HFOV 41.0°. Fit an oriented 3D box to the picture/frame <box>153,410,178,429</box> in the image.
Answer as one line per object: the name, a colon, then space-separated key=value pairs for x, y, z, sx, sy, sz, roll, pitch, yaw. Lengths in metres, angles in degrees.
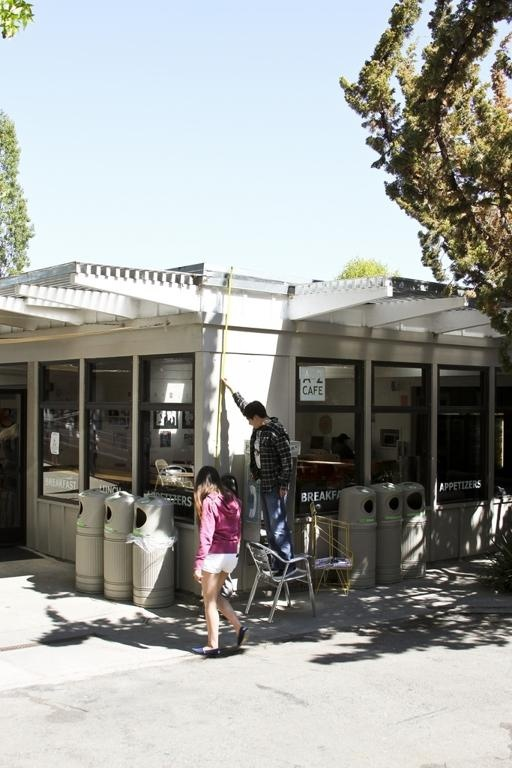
picture/frame: x=-0.997 y=0.390 z=7.467 sx=0.073 sy=0.202 sz=0.521 roll=4 pitch=-5 yaw=-31

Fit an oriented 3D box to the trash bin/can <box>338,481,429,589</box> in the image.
trash bin/can: x=1.426 y=1.745 z=7.823 sx=1.139 sy=1.041 sz=0.423 roll=0 pitch=-1 yaw=-44

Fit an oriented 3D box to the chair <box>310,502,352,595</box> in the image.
chair: x=0.848 y=1.831 z=7.647 sx=0.499 sy=0.915 sz=0.460 roll=0 pitch=-5 yaw=-7

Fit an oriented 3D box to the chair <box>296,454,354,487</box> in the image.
chair: x=0.799 y=1.018 z=8.043 sx=0.608 sy=0.301 sz=0.402 roll=4 pitch=-6 yaw=-39

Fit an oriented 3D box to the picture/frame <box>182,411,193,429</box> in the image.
picture/frame: x=-0.718 y=0.370 z=7.119 sx=0.043 sy=0.167 sz=0.173 roll=2 pitch=-1 yaw=-38

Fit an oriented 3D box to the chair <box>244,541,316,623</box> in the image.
chair: x=0.218 y=1.786 z=6.367 sx=0.578 sy=0.719 sz=0.606 roll=-3 pitch=-1 yaw=37

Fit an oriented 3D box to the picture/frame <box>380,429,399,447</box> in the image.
picture/frame: x=1.758 y=0.706 z=9.019 sx=0.074 sy=0.249 sz=0.375 roll=-2 pitch=-6 yaw=41

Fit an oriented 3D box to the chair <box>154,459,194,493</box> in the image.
chair: x=-0.894 y=0.985 z=7.393 sx=0.383 sy=0.292 sz=0.309 roll=-2 pitch=-3 yaw=33

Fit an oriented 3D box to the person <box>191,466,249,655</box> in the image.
person: x=-0.313 y=1.324 z=5.150 sx=0.296 sy=1.396 sz=0.593 roll=-1 pitch=-5 yaw=30

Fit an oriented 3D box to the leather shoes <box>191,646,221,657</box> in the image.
leather shoes: x=-0.376 y=1.981 z=5.090 sx=0.191 sy=0.064 sz=0.083 roll=5 pitch=-7 yaw=9
